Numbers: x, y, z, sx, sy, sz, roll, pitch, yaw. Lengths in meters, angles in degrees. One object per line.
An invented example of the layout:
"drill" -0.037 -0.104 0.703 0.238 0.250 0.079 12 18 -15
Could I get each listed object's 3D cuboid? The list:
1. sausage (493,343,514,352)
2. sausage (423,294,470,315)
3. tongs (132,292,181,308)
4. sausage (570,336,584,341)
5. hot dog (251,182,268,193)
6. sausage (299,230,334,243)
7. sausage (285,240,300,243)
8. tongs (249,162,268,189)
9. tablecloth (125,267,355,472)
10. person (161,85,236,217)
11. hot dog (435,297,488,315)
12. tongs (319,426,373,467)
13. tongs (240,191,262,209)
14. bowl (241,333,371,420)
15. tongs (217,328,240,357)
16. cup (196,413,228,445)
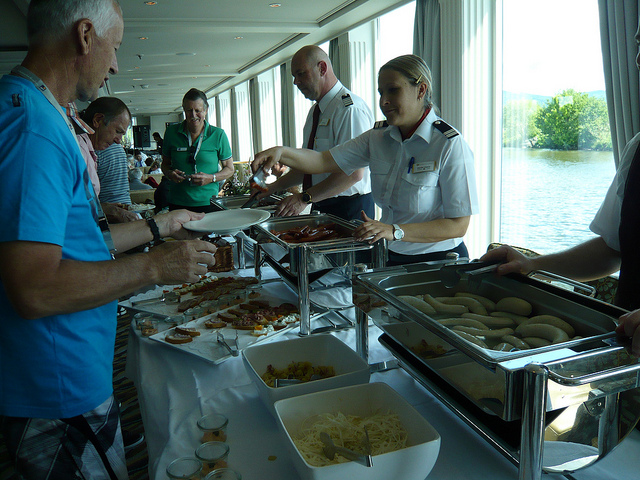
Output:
"sausage" 0.378 0.221 0.993 0.025 0.007 0.017 -1 12 -34
"sausage" 0.302 0.153 1.147 0.101 0.034 0.025 12 -8 19
"tongs" -0.673 0.253 2.010 0.138 0.028 0.074 -7 10 -27
"sausage" 0.542 0.204 1.004 0.015 0.007 0.014 -10 2 -2
"hot dog" -0.299 -0.259 2.393 0.032 0.025 0.104 -35 -7 2
"sausage" -0.005 -0.015 2.079 0.045 0.048 0.197 -21 1 33
"sausage" -0.113 0.003 2.017 0.049 0.005 0.053 -5 10 -14
"tongs" -0.301 -0.311 2.346 0.074 0.130 0.111 -5 10 -7
"tablecloth" -0.224 0.363 1.420 0.844 0.185 0.804 -7 15 -23
"person" -1.085 -0.467 4.120 0.587 1.476 0.505 6 31 -6
"hot dog" 0.349 0.158 1.172 0.116 0.028 0.060 2 11 24
"tongs" 0.056 0.432 0.998 0.110 0.056 0.140 -3 10 -3
"tongs" -0.373 -0.225 2.641 0.104 0.093 0.194 -4 10 -8
"bowl" -0.053 0.349 1.327 0.245 0.101 0.214 -6 13 -21
"tongs" -0.296 0.336 1.562 0.047 0.023 0.077 -7 22 -14
"cup" -0.255 0.443 1.141 0.079 0.053 0.076 0 -1 0
